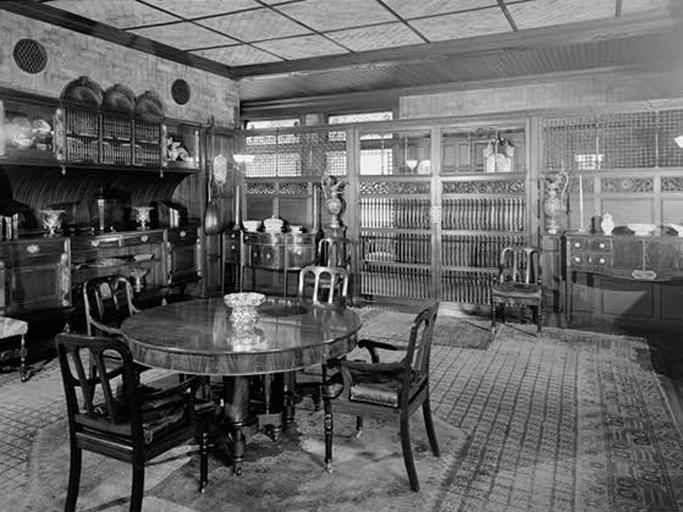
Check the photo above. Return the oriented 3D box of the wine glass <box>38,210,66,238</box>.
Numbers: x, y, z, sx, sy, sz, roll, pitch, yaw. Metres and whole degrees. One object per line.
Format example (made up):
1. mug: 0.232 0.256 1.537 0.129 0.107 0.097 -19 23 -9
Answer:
1. wine glass: -3.414 -0.387 6.086 0.323 0.345 0.340 0 1 -10

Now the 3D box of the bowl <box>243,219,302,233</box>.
1. bowl: -1.048 -0.498 8.285 1.042 0.173 0.715 4 12 19

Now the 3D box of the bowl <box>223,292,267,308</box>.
1. bowl: -0.747 0.339 4.005 0.195 0.052 0.198 1 2 0

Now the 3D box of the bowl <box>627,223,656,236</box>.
1. bowl: 3.724 -0.340 6.426 0.198 0.085 0.200 0 -1 0

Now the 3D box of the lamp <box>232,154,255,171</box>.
1. lamp: -1.590 -1.540 8.441 0.379 0.257 0.873 -2 11 -11

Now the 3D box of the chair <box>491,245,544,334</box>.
1. chair: 2.274 0.411 6.628 0.778 1.076 0.733 -4 8 -33
